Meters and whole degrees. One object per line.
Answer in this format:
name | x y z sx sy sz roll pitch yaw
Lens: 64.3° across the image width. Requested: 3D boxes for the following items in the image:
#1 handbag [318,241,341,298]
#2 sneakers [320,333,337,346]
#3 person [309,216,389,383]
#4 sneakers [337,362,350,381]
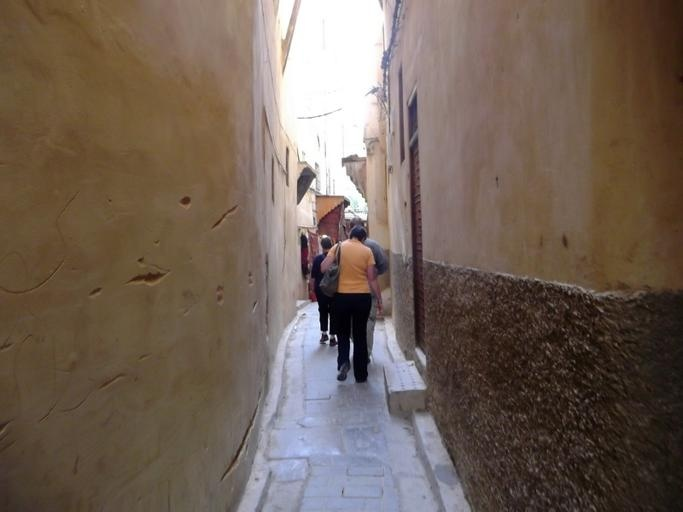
handbag | -0.095 0.146 5.428 0.212 0.531 0.247 0 5 41
sneakers | -0.179 1.093 7.281 0.093 0.158 0.307 0 3 -21
person | 0.108 0.479 5.512 0.581 1.529 0.352 -3 4 -3
sneakers | 0.021 1.153 5.514 0.065 0.118 0.229 9 21 3
